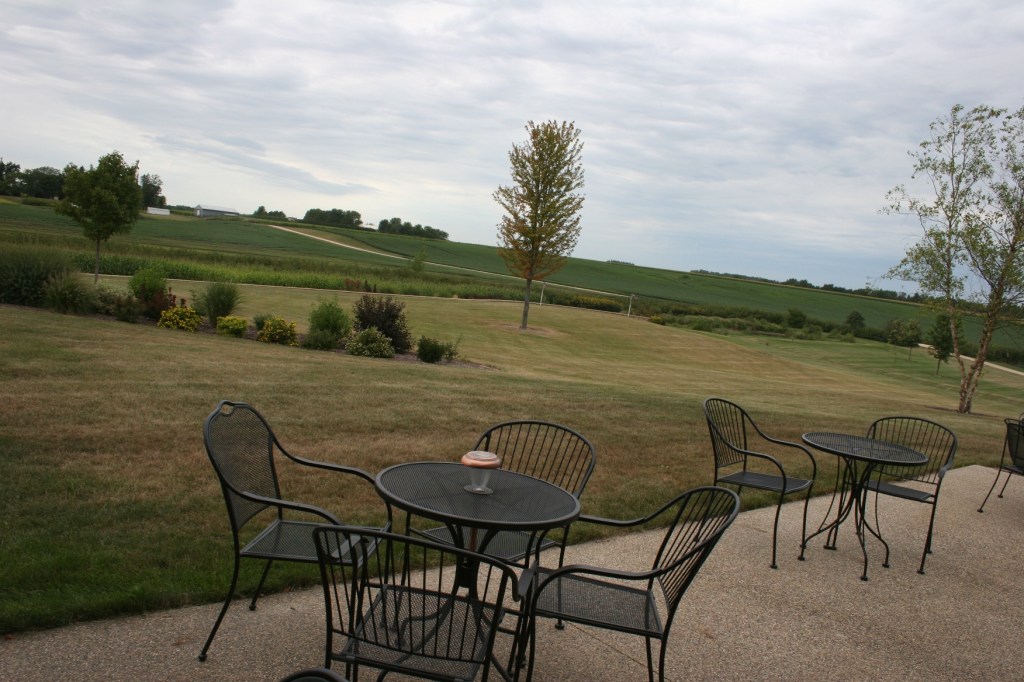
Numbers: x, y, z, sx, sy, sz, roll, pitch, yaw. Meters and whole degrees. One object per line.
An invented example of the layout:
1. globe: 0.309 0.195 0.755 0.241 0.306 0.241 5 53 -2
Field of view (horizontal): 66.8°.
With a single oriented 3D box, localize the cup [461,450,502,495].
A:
1. cup: -0.431 1.789 10.699 0.573 0.497 0.556 2 2 0
